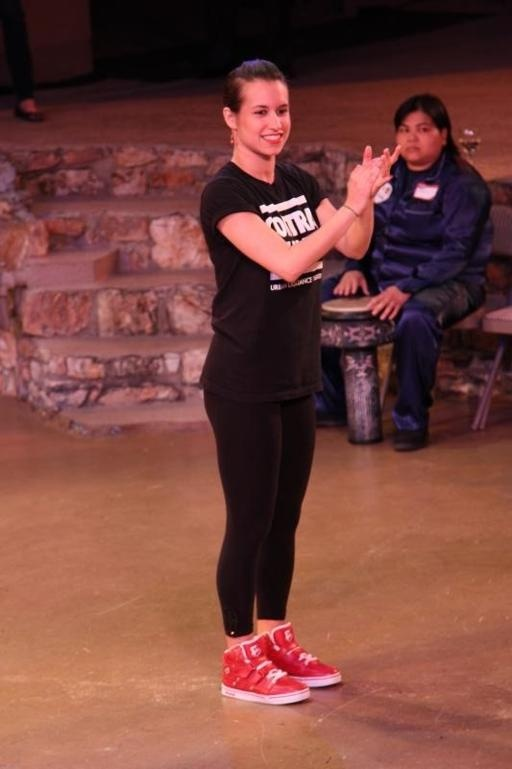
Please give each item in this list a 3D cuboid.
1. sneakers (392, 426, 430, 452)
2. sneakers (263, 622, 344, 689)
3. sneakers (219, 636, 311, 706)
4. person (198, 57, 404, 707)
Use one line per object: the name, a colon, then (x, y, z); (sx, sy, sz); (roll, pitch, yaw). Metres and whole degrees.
sneakers: (0.646, 0.225, 3.198); (0.095, 0.095, 0.243); (-2, -2, 12)
sneakers: (0.076, 0.509, 1.462); (0.174, 0.100, 0.062); (-6, 0, 37)
sneakers: (0.012, 0.515, 1.398); (0.173, 0.103, 0.066); (-5, -11, 29)
person: (0.080, 0.022, 1.357); (0.346, 1.129, 0.308); (-6, 10, -27)
